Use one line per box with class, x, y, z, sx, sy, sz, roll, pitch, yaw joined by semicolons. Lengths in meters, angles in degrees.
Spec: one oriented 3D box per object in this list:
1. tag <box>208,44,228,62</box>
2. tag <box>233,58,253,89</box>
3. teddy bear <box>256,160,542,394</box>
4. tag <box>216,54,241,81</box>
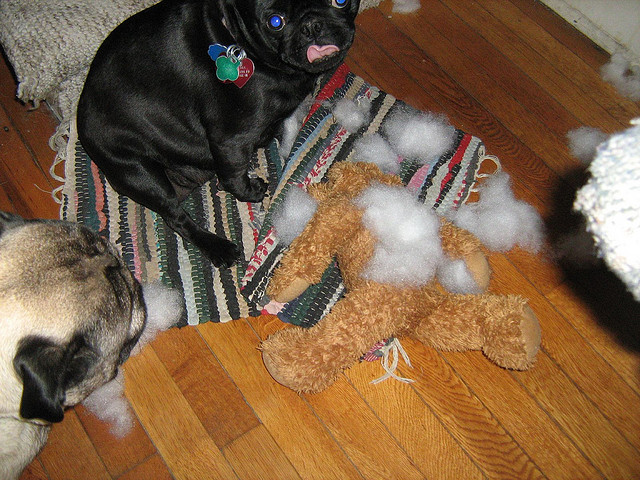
tag;-0.389;-0.710;2.292;0.072;0.039;0.044;4;65;-6
tag;-0.295;-0.639;2.299;0.080;0.012;0.089;-11;97;5
teddy bear;0.267;0.129;2.393;1.008;0.380;0.820;-1;66;-9
tag;-0.350;-0.652;2.295;0.090;0.064;0.070;3;65;-6
